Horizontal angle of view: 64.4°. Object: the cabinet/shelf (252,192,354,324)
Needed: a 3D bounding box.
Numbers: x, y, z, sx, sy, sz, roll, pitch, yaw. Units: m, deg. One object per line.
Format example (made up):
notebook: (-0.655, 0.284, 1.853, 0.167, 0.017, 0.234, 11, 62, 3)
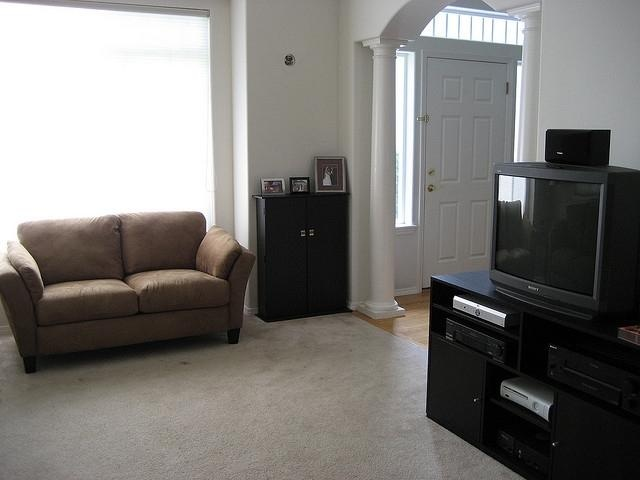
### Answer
cabinet/shelf: (-0.197, 0.145, 4.774, 1.112, 1.439, 0.485, -2, 4, -25)
